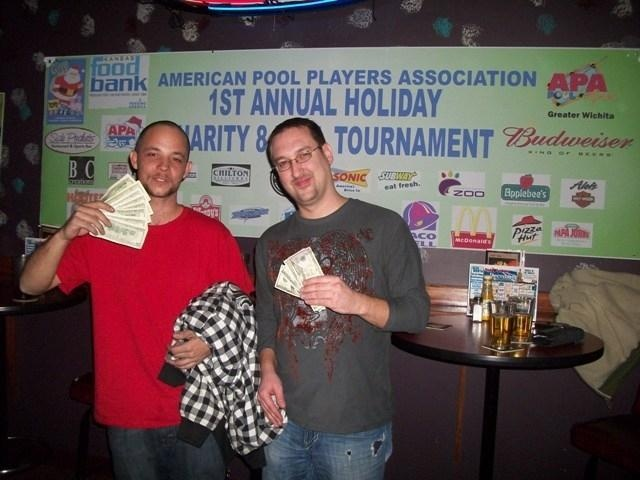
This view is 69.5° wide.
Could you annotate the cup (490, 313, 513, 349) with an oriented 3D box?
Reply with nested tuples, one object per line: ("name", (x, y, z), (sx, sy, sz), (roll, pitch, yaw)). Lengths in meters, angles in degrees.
("cup", (0.996, 0.483, 2.542), (0.111, 0.177, 0.226), (4, 4, 23))

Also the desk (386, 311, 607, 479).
("desk", (0.946, 0.680, 2.794), (0.973, 1.106, 0.997), (-5, 8, -33))

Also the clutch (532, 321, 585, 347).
("clutch", (1.299, 0.527, 2.584), (0.198, 0.088, 0.147), (-4, 4, -27))
